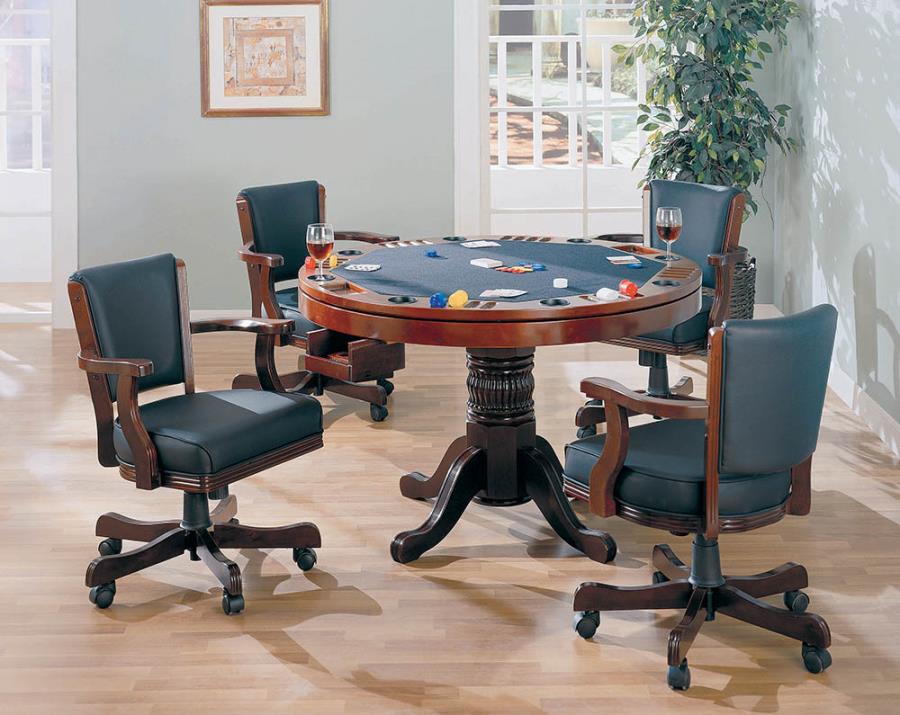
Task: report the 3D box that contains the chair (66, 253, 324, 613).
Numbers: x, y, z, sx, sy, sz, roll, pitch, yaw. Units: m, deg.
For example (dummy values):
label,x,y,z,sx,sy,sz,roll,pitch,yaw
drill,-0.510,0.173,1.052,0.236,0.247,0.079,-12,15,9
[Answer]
label,x,y,z,sx,sy,sz,roll,pitch,yaw
chair,-0.782,0.209,2.636,0.747,1.028,0.624,-1,14,-6

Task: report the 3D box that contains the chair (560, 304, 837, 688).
label,x,y,z,sx,sy,sz,roll,pitch,yaw
chair,0.683,0.331,2.271,0.710,0.984,0.498,0,15,-3
